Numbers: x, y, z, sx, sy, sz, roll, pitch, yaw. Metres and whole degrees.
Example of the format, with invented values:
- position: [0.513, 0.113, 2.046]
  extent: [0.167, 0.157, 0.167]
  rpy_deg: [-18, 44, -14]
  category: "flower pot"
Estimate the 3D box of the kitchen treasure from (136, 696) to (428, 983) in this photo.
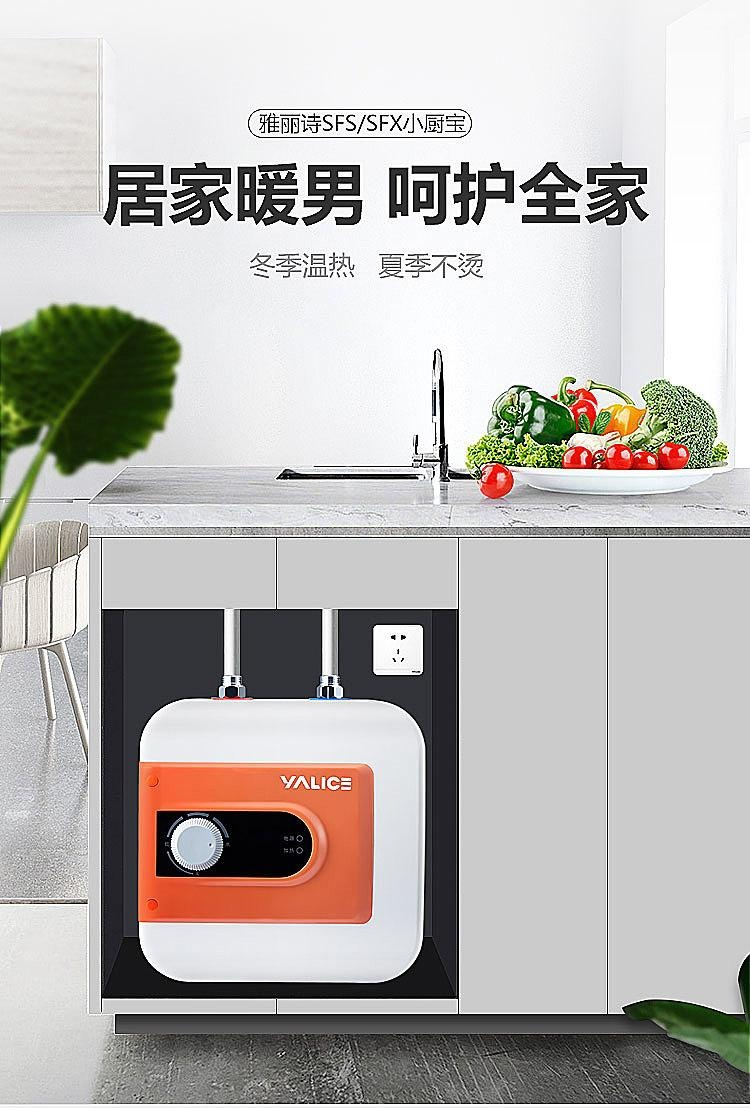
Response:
- position: [-0.113, 0.317, 1.765]
  extent: [0.543, 0.609, 0.346]
  rpy_deg: [0, 0, -1]
  category: "kitchen treasure"

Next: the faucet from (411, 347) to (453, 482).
- position: [0.130, -0.308, 2.395]
  extent: [0.075, 0.303, 0.053]
  rpy_deg: [-1, -11, 8]
  category: "faucet"
